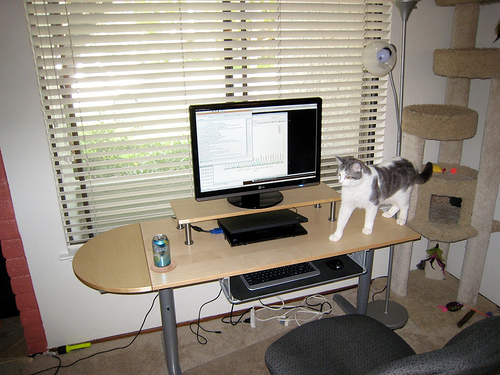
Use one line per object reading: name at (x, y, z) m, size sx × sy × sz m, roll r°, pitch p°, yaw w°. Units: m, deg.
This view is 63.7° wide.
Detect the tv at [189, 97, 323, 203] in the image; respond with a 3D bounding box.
tv at (0.067, -0.233, 2.331) m, size 0.856 × 0.551 × 0.073 m, roll -9°, pitch 20°, yaw -27°

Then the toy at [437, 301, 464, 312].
toy at (1.464, 0.863, 2.918) m, size 0.183 × 0.054 × 0.074 m, roll -1°, pitch 16°, yaw 12°

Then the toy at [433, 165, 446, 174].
toy at (1.305, -0.121, 2.758) m, size 0.073 × 0.029 × 0.060 m, roll 10°, pitch 7°, yaw 32°

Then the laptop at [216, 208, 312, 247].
laptop at (0.085, 0.226, 2.378) m, size 0.532 × 0.114 × 0.246 m, roll -8°, pitch 16°, yaw -12°

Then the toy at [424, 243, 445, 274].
toy at (1.455, 0.559, 3.154) m, size 0.151 × 0.255 × 0.118 m, roll 2°, pitch 19°, yaw 23°

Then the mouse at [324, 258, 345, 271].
mouse at (0.497, 0.446, 2.341) m, size 0.117 × 0.049 × 0.099 m, roll -5°, pitch 16°, yaw -3°

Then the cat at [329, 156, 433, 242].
cat at (0.835, -0.010, 2.441) m, size 0.852 × 0.514 × 0.219 m, roll -18°, pitch 27°, yaw -26°

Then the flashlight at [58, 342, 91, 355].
flashlight at (-1.194, 1.067, 2.718) m, size 0.229 × 0.066 × 0.060 m, roll -1°, pitch 39°, yaw -24°
